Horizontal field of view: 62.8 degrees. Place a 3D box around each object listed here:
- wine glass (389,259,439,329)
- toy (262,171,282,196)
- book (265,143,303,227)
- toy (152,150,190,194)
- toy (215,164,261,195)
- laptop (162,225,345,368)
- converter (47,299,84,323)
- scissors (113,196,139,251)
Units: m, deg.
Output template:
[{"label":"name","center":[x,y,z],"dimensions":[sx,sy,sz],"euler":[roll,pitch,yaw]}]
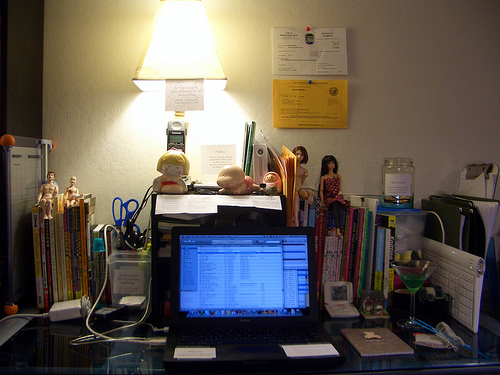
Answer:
[{"label":"wine glass","center":[0.623,0.396,1.567],"dimensions":[0.203,0.279,0.222],"euler":[1,-6,0]},{"label":"toy","center":[0.096,-0.015,1.700],"dimensions":[0.076,0.115,0.079],"euler":[-3,-9,5]},{"label":"book","center":[0.137,0.004,1.686],"dimensions":[0.080,0.272,0.262],"euler":[-8,17,2]},{"label":"toy","center":[-0.319,-0.051,1.649],"dimensions":[0.131,0.201,0.104],"euler":[6,-1,-19]},{"label":"toy","center":[-0.030,-0.025,1.694],"dimensions":[0.114,0.127,0.268],"euler":[-2,-4,39]},{"label":"laptop","center":[-0.013,0.314,1.605],"dimensions":[0.564,0.402,0.432],"euler":[0,-5,-3]},{"label":"converter","center":[-0.720,0.475,1.592],"dimensions":[0.083,0.035,0.093],"euler":[-3,7,-20]},{"label":"scissors","center":[-0.541,0.144,1.776],"dimensions":[0.119,0.195,0.241],"euler":[-3,6,-19]}]
